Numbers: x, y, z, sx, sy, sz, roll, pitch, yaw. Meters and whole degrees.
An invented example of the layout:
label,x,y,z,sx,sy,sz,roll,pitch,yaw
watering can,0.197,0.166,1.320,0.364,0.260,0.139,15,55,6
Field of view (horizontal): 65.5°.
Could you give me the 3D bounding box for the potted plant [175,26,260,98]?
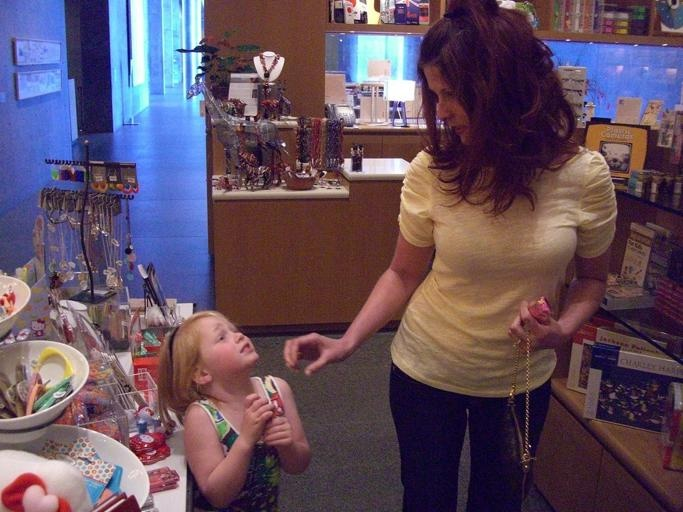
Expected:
label,x,y,z,sx,sy,sz,roll,pitch,yaw
potted plant,-1.358,-2.162,5.950,1.138,0.843,0.908,0,7,-4
